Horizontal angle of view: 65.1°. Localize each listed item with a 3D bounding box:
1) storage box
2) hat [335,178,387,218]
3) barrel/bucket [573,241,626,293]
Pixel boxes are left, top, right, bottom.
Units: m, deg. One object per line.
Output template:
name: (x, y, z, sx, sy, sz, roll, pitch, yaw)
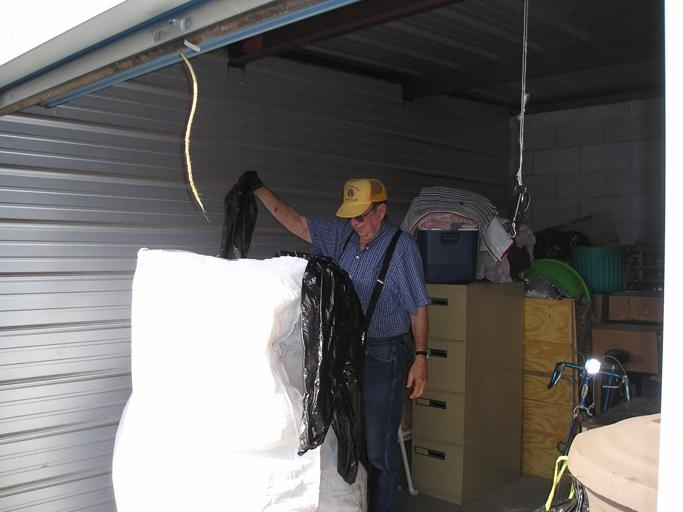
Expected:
storage box: (2.892, 0.288, 5.448, 0.947, 1.141, 1.818, 1, -1, 14)
hat: (0.112, -0.429, 3.679, 0.311, 0.223, 0.405, 13, 25, 42)
barrel/bucket: (2.759, 0.148, 5.867, 0.572, 0.557, 0.569, -6, 6, 1)
